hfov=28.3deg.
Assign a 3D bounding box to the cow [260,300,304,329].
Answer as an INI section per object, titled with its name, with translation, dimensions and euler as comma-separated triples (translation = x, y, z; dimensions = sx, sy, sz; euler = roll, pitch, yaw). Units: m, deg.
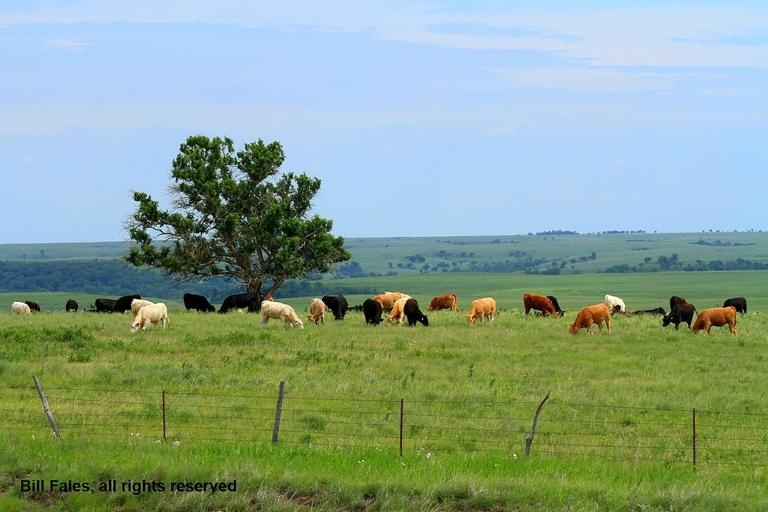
[cow]
translation = -6.252, 3.524, 93.800
dimensions = 2.701, 1.492, 0.855
euler = 0, 0, 21
